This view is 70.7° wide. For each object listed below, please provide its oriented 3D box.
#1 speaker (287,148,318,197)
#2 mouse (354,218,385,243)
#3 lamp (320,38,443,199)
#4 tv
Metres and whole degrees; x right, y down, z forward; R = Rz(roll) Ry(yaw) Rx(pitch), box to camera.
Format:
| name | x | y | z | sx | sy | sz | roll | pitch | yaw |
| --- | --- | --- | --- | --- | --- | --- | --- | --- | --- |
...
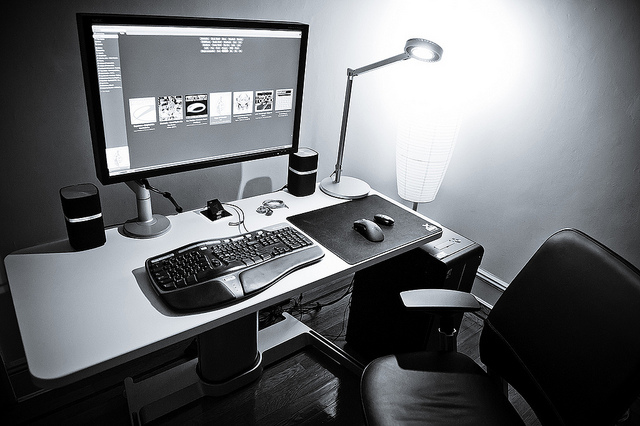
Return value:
| name | x | y | z | sx | sy | sz | roll | pitch | yaw |
| --- | --- | --- | --- | --- | --- | --- | --- | --- | --- |
| speaker | -0.086 | -0.191 | 2.182 | 0.120 | 0.215 | 0.125 | -23 | 49 | -37 |
| mouse | 0.217 | 0.072 | 1.981 | 0.076 | 0.047 | 0.135 | -15 | 36 | -32 |
| lamp | 0.246 | -0.409 | 2.088 | 0.511 | 0.754 | 0.262 | 22 | 33 | 36 |
| tv | -0.473 | -0.492 | 1.900 | 0.123 | 0.605 | 1.010 | 28 | 33 | 37 |
